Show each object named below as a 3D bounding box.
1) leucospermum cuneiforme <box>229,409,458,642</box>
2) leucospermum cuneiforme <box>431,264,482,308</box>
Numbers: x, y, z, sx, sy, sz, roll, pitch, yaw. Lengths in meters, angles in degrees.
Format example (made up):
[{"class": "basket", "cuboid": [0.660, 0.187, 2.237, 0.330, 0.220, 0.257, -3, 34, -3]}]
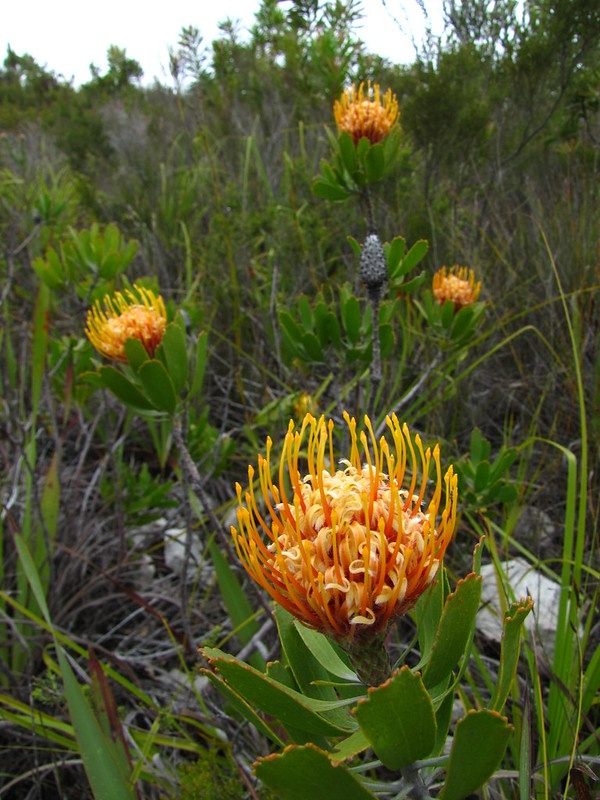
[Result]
[{"class": "leucospermum cuneiforme", "cuboid": [0.072, 0.274, 0.955, 0.318, 0.401, 0.348, 4, -14, -4]}, {"class": "leucospermum cuneiforme", "cuboid": [0.433, -0.309, 1.656, 0.150, 0.148, 0.169, 0, 13, 1]}]
